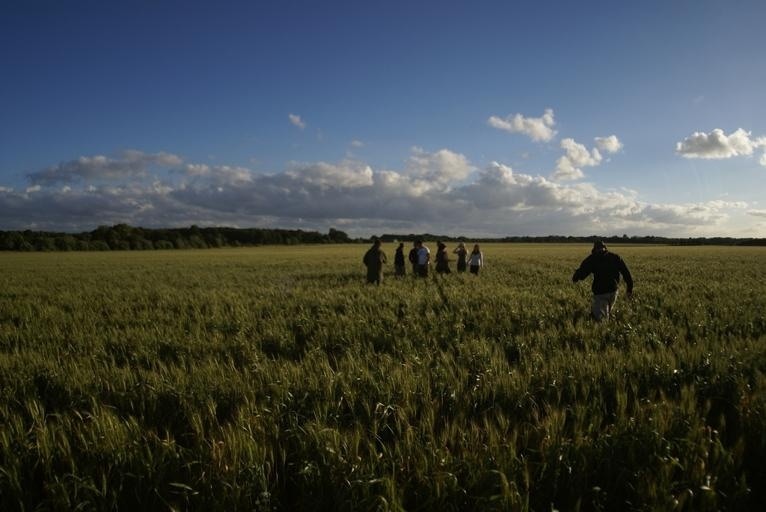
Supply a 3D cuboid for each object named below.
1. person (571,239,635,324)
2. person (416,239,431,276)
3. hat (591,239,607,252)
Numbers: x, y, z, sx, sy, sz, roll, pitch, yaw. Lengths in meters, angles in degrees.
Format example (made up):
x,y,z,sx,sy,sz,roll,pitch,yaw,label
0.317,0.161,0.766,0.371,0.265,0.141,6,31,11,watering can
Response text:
x,y,z,sx,sy,sz,roll,pitch,yaw,label
5.821,0.597,15.729,1.342,2.086,1.055,-4,7,-45,person
1.720,0.102,25.904,0.516,1.618,1.145,1,5,5,person
5.717,-0.295,15.685,0.364,0.372,0.301,1,8,18,hat
